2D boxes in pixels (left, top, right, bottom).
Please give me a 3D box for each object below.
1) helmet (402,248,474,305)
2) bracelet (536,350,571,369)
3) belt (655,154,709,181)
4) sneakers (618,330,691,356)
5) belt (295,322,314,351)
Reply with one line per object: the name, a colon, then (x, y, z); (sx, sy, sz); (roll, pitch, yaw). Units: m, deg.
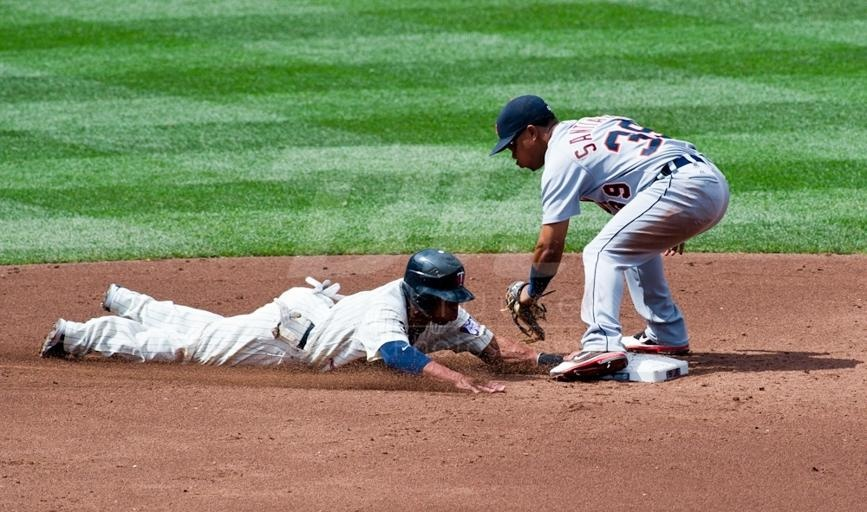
helmet: (0.084, 0.188, 16.839); (0.720, 0.413, 0.554); (15, 9, 21)
bracelet: (1.272, 1.086, 17.109); (0.305, 0.086, 0.143); (-3, 26, -4)
belt: (2.550, -0.931, 16.619); (0.407, 0.186, 0.283); (-25, 12, 4)
sneakers: (2.333, 0.933, 17.377); (0.760, 0.263, 0.293); (9, 12, 17)
belt: (-1.311, 0.831, 16.941); (0.093, 0.267, 0.166); (16, 24, 22)
